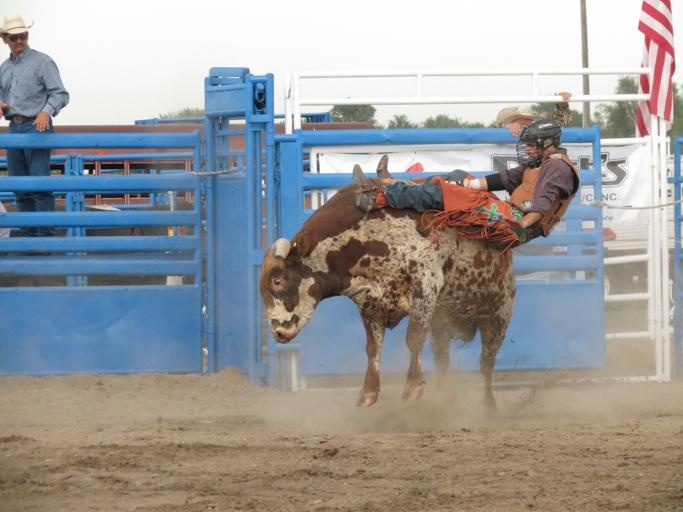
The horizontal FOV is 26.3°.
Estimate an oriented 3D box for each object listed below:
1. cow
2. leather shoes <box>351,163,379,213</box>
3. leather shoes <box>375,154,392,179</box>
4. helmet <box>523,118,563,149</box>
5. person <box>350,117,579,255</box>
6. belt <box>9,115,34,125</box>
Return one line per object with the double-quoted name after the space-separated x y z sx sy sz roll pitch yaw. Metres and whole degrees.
0.462 0.471 14.135 2.520 2.285 1.117 -1 13 -9 "cow"
0.205 -0.633 13.947 0.172 0.509 0.229 -1 3 -17 "leather shoes"
0.398 -0.879 14.241 0.096 0.304 0.128 2 -13 7 "leather shoes"
1.913 -1.173 14.130 0.314 0.233 0.248 3 1 7 "helmet"
1.284 -0.648 14.211 1.690 0.964 1.340 12 27 -7 "person"
-3.551 -1.516 16.282 0.281 0.104 0.110 0 12 -4 "belt"
